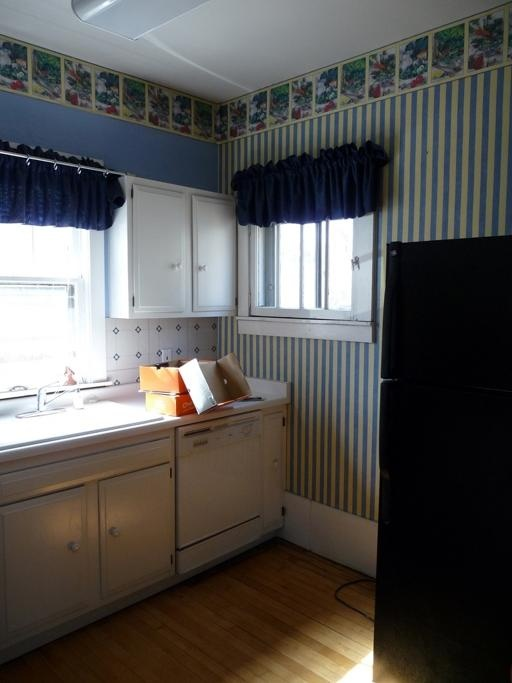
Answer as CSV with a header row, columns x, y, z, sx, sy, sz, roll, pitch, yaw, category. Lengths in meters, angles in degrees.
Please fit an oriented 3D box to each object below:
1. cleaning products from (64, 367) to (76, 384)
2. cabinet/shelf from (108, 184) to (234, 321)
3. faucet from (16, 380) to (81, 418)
x,y,z,sx,sy,sz,roll,pitch,yaw,category
-0.912,0.165,2.564,0.050,0.086,0.057,3,12,22,cleaning products
-0.482,-0.480,2.827,0.256,0.731,0.651,1,2,39,cabinet/shelf
-0.979,0.271,2.523,0.105,0.222,0.382,0,-1,31,faucet
